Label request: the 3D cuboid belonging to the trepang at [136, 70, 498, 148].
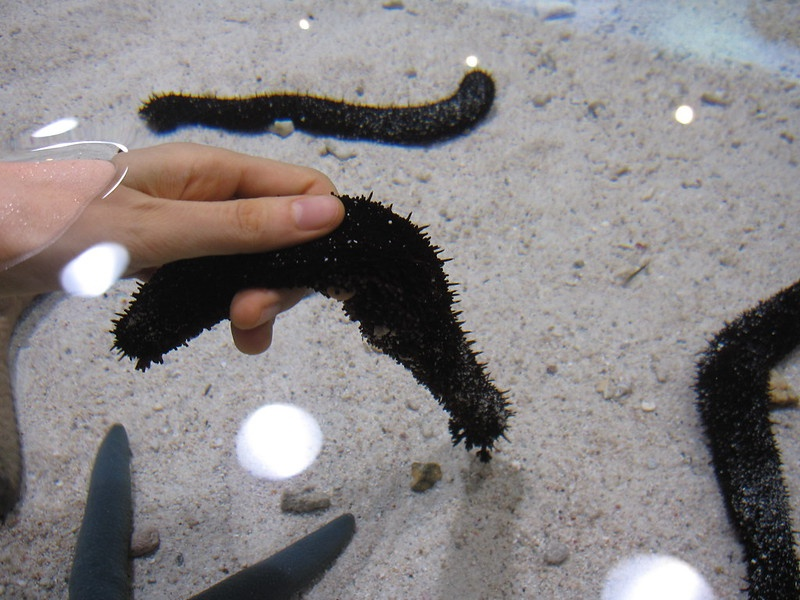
[{"bbox_3d":[-0.255,-0.562,2.907,1.103,0.092,0.226,-5,71,2],"label":"trepang"}]
